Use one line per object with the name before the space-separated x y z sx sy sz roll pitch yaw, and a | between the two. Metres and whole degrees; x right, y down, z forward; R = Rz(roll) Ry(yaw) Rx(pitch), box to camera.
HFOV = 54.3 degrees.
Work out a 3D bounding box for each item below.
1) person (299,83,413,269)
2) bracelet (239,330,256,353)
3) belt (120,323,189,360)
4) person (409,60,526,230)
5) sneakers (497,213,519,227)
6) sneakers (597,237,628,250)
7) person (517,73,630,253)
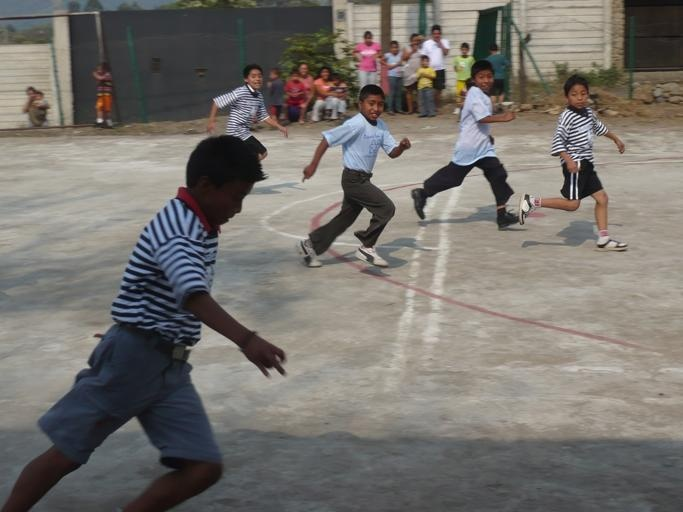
person | 0.152 -0.881 7.390 1.272 2.040 0.795 0 12 8
bracelet | -0.398 0.367 2.853 0.090 0.027 0.101 -45 12 -33
belt | -0.829 0.390 3.036 0.288 0.077 0.188 21 -1 -2
person | 1.674 -1.460 8.800 1.294 2.240 1.284 0 12 10
sneakers | 2.143 -0.475 8.587 0.286 0.225 0.181 2 11 21
sneakers | 3.200 -0.118 7.937 0.441 0.105 0.128 0 8 0
person | 2.837 -1.120 8.075 1.246 2.102 1.317 2 12 17
